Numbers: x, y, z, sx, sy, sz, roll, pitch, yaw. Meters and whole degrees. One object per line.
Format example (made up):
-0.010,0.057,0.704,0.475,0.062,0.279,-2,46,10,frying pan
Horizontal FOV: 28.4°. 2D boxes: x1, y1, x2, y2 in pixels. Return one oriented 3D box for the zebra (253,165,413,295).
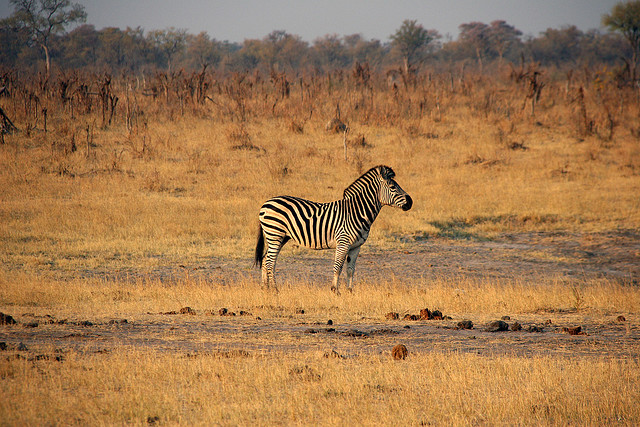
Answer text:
0.785,1.427,73.650,6.396,6.066,1.917,0,-7,8,zebra
